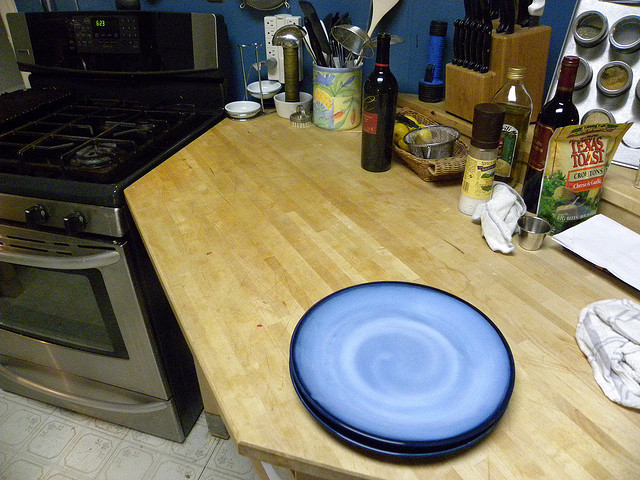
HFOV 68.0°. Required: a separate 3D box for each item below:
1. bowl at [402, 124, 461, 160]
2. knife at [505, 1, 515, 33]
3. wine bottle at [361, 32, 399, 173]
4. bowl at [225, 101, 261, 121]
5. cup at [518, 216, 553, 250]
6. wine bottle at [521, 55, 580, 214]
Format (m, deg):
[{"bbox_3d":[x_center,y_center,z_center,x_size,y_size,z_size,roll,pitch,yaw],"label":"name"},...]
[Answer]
[{"bbox_3d":[0.357,-0.294,1.450,0.189,0.083,0.199,-9,22,4],"label":"bowl"},{"bbox_3d":[0.527,-0.620,1.320,0.029,0.078,0.014,-9,32,-11],"label":"knife"},{"bbox_3d":[0.149,-0.386,1.394,0.109,0.400,0.111,0,28,0],"label":"wine bottle"},{"bbox_3d":[-0.300,-0.497,1.813,0.090,0.034,0.094,1,33,-1],"label":"bowl"},{"bbox_3d":[0.519,-0.022,1.171,0.079,0.065,0.085,0,28,0],"label":"cup"},{"bbox_3d":[0.566,-0.243,1.163,0.091,0.384,0.134,15,35,25],"label":"wine bottle"}]
